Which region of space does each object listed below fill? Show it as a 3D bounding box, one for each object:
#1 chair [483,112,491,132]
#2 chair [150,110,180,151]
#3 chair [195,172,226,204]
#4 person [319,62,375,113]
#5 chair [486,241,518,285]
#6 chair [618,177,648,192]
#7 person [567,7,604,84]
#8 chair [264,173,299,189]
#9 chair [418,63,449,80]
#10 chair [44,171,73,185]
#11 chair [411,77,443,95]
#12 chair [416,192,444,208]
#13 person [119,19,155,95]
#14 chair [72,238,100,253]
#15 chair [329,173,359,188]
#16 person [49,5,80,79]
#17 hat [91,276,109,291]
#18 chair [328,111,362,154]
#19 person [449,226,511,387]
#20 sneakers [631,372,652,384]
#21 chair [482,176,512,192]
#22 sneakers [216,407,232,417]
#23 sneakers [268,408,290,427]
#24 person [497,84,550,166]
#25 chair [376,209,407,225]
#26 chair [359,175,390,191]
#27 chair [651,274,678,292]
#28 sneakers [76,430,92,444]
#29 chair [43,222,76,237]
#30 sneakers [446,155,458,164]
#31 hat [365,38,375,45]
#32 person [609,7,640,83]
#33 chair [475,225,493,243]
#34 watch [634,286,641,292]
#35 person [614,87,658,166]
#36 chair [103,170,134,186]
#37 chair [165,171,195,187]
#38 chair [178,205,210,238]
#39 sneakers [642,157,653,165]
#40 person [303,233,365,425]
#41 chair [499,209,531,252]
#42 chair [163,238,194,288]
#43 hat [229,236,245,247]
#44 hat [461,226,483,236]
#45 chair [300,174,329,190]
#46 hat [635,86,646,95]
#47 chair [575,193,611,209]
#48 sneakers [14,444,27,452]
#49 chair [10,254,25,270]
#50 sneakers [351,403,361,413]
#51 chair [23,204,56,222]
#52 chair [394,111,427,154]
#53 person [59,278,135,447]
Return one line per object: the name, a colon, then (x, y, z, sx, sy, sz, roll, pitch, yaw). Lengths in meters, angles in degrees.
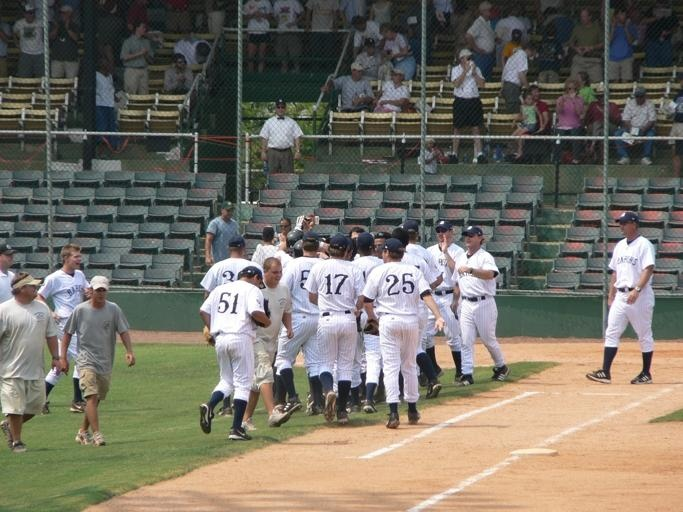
chair: (3.427, -3.123, 38.821, 0.153, 0.419, 0.302, 1, -4, -10)
chair: (-4.384, -3.050, 40.662, 0.998, 1.261, 0.938, 1, 0, -3)
chair: (-3.004, -1.571, 38.020, 0.635, 0.768, 0.650, 0, -2, 3)
person: (0.193, -4.006, 39.720, 0.834, 1.164, 1.573, 0, 3, -35)
chair: (3.562, 0.161, 35.862, 0.799, 1.024, 0.875, 0, -4, 5)
chair: (6.572, -1.538, 37.227, 0.601, 0.376, 0.322, 1, 1, 19)
person: (6.024, -5.088, 40.510, 0.839, 1.730, 0.534, 2, 3, 5)
chair: (-1.327, -1.674, 37.788, 0.462, 0.448, 0.434, 2, 1, 5)
chair: (2.345, -4.478, 40.733, 0.832, 0.537, 0.503, 2, 27, 5)
chair: (-6.521, -1.792, 38.668, 0.396, 0.360, 0.385, 0, -3, -7)
chair: (2.090, -4.077, 40.240, 0.859, 0.407, 0.722, 2, 3, 1)
chair: (1.982, -1.263, 36.923, 0.489, 0.453, 0.401, 0, -5, 2)
person: (-5.139, -4.913, 41.546, 0.777, 1.779, 0.643, 0, 3, -31)
chair: (-5.695, -0.220, 37.157, 0.586, 0.389, 0.423, 0, -9, -2)
chair: (0.060, -1.666, 37.788, 0.449, 0.427, 0.394, 0, -3, 5)
person: (-6.902, -5.290, 41.215, 0.737, 1.751, 0.812, 1, 3, -17)
hat: (-4.076, 0.466, 27.775, 0.234, 0.171, 0.332, 1, -7, -16)
chair: (0.097, -2.858, 38.877, 0.883, 1.130, 0.874, 2, 46, 3)
person: (2.562, 0.923, 30.447, 1.001, 2.905, 0.861, 2, 3, 4)
sneakers: (5.498, 2.262, 30.224, 0.469, 0.219, 0.156, 2, -3, -9)
chair: (3.522, -1.594, 37.581, 0.462, 0.364, 0.457, 2, -13, 5)
sneakers: (-2.064, 2.768, 29.217, 0.190, 0.130, 0.316, 1, 3, -7)
sneakers: (-1.038, 2.732, 27.660, 0.173, 0.232, 0.508, 19, -43, -40)
person: (4.405, -3.071, 38.788, 0.970, 1.779, 1.148, 3, 3, 13)
chair: (1.079, -0.861, 36.743, 0.503, 0.394, 0.401, 1, -3, 2)
chair: (0.733, -1.660, 37.734, 0.516, 0.481, 0.421, 0, -5, 4)
chair: (6.861, 0.569, 34.941, 0.506, 0.319, 0.234, 2, 3, 9)
sneakers: (-4.347, 3.036, 27.609, 0.341, 0.160, 0.140, 6, 3, 37)
chair: (-6.346, -0.575, 37.549, 0.656, 0.346, 0.394, 1, 3, -12)
sneakers: (2.623, -2.240, 38.889, 0.187, 0.173, 0.185, 4, 18, 7)
hat: (0.680, -5.135, 39.980, 0.244, 0.179, 0.403, 2, 2, 0)
person: (6.874, -5.104, 40.209, 0.656, 1.769, 0.592, 2, 3, 9)
chair: (2.905, -0.417, 33.643, 0.479, 0.467, 0.268, -1, -6, 2)
watch: (5.374, 0.607, 29.847, 0.108, 0.097, 0.087, 2, 3, 8)
person: (6.829, -2.953, 38.229, 0.884, 1.745, 1.285, 2, 3, 9)
chair: (-5.175, -1.774, 38.477, 0.508, 0.402, 0.404, 1, 11, -1)
chair: (-3.735, -1.742, 38.231, 0.700, 0.493, 0.344, 3, 4, 1)
chair: (-3.297, -0.732, 37.472, 0.763, 0.712, 0.602, 1, -2, 4)
sneakers: (7.112, -2.177, 38.468, 0.101, 0.114, 0.266, -3, 2, -36)
person: (-0.105, 1.266, 28.167, 0.923, 3.192, 0.491, 2, 3, -2)
chair: (3.857, -0.716, 36.691, 0.797, 0.769, 0.716, 0, 13, -1)
chair: (-3.681, 0.042, 36.893, 0.791, 0.816, 0.655, 1, -7, -9)
hat: (-1.822, -0.240, 28.964, 0.250, 0.176, 0.401, 4, 5, -2)
hat: (2.401, -0.428, 30.213, 0.306, 0.197, 0.288, 2, 3, -7)
chair: (-0.623, -1.674, 37.747, 0.600, 0.400, 0.365, 1, 7, 0)
hat: (6.906, -3.784, 38.204, 0.337, 0.140, 0.483, 3, 9, 17)
chair: (5.509, -1.194, 36.521, 0.639, 0.382, 0.326, 2, 0, 10)
sneakers: (-5.299, 3.163, 27.209, 0.110, 0.118, 0.173, 2, 5, -22)
chair: (-7.172, 0.125, 36.726, 0.346, 0.433, 0.362, 1, -10, -4)
sneakers: (0.256, 2.679, 28.976, 0.160, 0.136, 0.313, 1, 3, 0)
chair: (-7.009, -0.961, 37.853, 0.644, 0.421, 0.410, 2, -2, -8)
chair: (1.504, -2.790, 38.167, 0.782, 0.927, 0.850, 1, 25, 2)
person: (-4.156, 1.743, 27.851, 1.095, 2.775, 0.866, 4, 4, 37)
